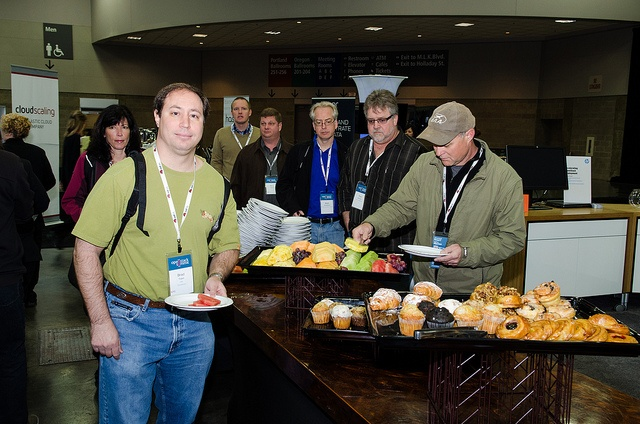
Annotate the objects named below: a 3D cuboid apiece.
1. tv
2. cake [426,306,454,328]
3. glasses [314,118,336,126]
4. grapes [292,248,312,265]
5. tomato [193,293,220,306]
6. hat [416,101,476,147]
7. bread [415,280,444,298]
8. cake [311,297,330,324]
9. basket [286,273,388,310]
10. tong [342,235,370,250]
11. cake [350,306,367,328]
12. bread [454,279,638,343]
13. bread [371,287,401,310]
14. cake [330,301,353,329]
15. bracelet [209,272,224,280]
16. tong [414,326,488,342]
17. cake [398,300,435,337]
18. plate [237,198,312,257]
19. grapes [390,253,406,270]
[{"bbox_3d":[2.620,-0.425,5.166,0.655,0.718,0.239,1,-6,4],"label":"tv"},{"bbox_3d":[0.471,0.415,1.674,0.073,0.064,0.078,-3,-1,39],"label":"cake"},{"bbox_3d":[0.042,-0.885,4.247,0.188,0.074,0.083,-1,12,-7],"label":"glasses"},{"bbox_3d":[-0.110,0.254,2.470,0.126,0.051,0.117,-7,14,-29],"label":"grapes"},{"bbox_3d":[-0.511,0.393,1.901,0.059,0.020,0.064,4,14,5],"label":"tomato"},{"bbox_3d":[0.709,-0.537,2.633,0.197,0.171,0.329,-23,6,9],"label":"hat"},{"bbox_3d":[0.511,0.351,2.042,0.082,0.032,0.091,3,9,-10],"label":"bread"},{"bbox_3d":[-0.002,0.469,2.001,0.079,0.078,0.089,-1,-9,10],"label":"cake"},{"bbox_3d":[0.030,0.433,2.413,0.373,0.145,0.257,2,-1,-5],"label":"basket"},{"bbox_3d":[0.214,0.198,2.533,0.105,0.023,0.072,28,36,16],"label":"tong"},{"bbox_3d":[0.182,0.488,1.993,0.072,0.077,0.075,1,1,5],"label":"cake"},{"bbox_3d":[0.874,0.404,1.713,0.663,0.153,0.357,2,13,9],"label":"bread"},{"bbox_3d":[0.306,0.405,1.987,0.139,0.047,0.171,4,13,14],"label":"bread"},{"bbox_3d":[0.102,0.487,1.991,0.092,0.096,0.101,5,-5,-38],"label":"cake"},{"bbox_3d":[-0.532,0.322,2.173,0.044,0.014,0.045,20,-2,-26],"label":"bracelet"},{"bbox_3d":[0.485,0.449,1.589,0.288,0.039,0.095,1,4,-17],"label":"tong"},{"bbox_3d":[0.386,0.430,1.710,0.099,0.108,0.102,9,-6,-38],"label":"cake"},{"bbox_3d":[-0.348,0.127,3.082,0.407,0.327,0.417,20,-5,33],"label":"plate"},{"bbox_3d":[0.448,0.288,2.482,0.053,0.044,0.092,12,20,-7],"label":"grapes"}]
